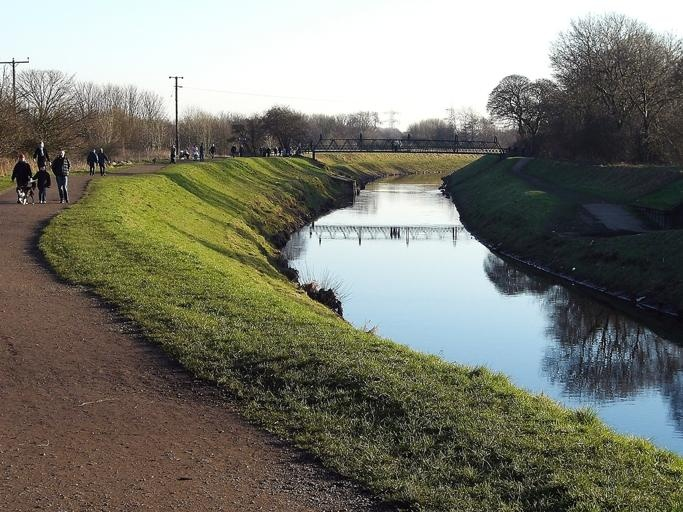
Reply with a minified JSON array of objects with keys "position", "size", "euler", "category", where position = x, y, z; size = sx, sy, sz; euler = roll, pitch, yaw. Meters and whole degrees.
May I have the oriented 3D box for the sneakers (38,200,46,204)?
[{"position":[-13.259,-2.410,36.009],"size":[0.140,0.187,0.424],"euler":[-4,-4,-34],"category":"sneakers"}]
